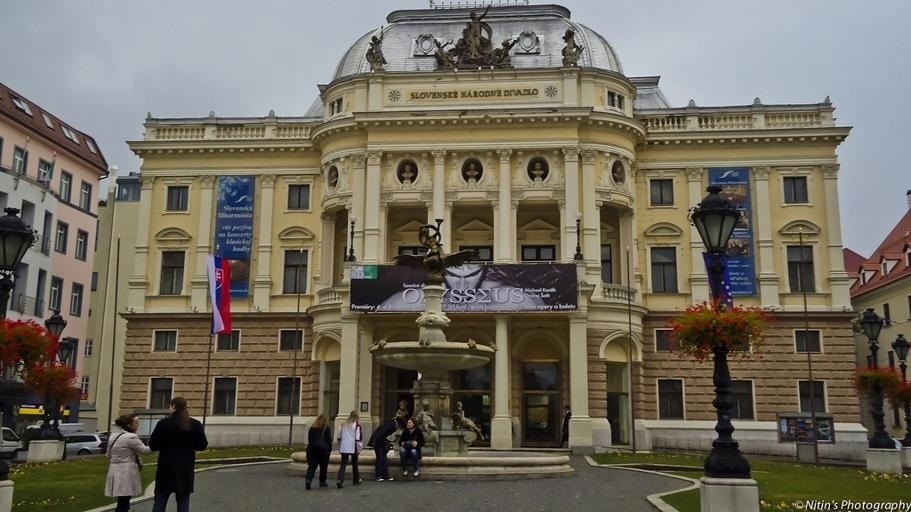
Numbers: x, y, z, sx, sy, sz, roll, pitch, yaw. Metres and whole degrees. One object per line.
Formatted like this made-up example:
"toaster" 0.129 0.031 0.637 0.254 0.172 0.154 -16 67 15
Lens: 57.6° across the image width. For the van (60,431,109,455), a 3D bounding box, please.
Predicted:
"van" -24.790 11.998 53.487 3.816 1.428 1.997 5 -14 -7
